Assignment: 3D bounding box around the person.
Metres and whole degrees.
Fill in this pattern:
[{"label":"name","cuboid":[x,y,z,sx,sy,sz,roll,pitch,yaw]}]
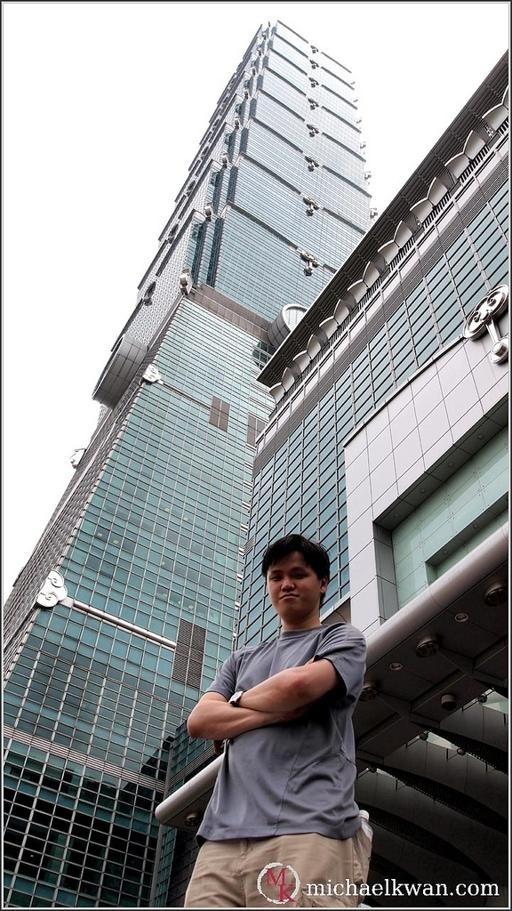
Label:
[{"label":"person","cuboid":[0.133,1.140,3.677,0.840,2.091,0.596,-30,-56,33]}]
